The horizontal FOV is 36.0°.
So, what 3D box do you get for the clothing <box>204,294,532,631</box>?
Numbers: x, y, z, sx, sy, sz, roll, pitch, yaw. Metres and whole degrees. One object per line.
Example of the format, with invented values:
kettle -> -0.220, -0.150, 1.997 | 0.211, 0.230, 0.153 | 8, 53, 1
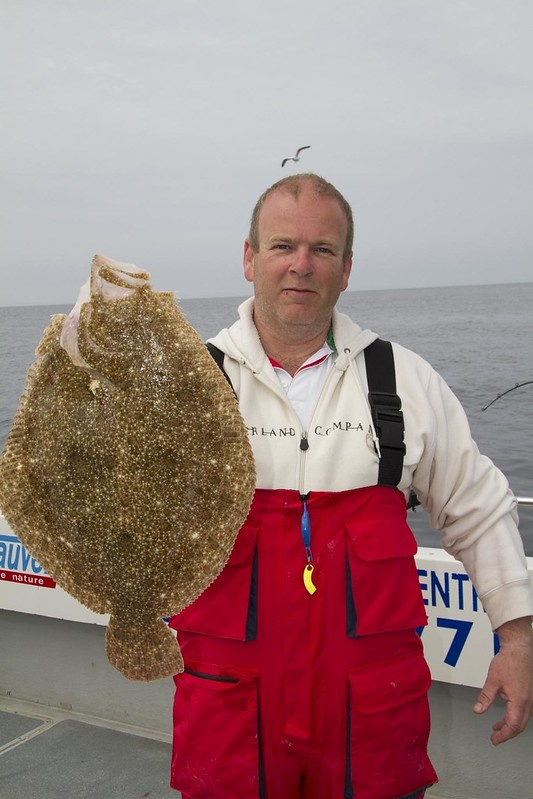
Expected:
clothing -> 0.331, 0.171, 2.185 | 0.813, 0.795, 0.228 | -2, -12, -4
